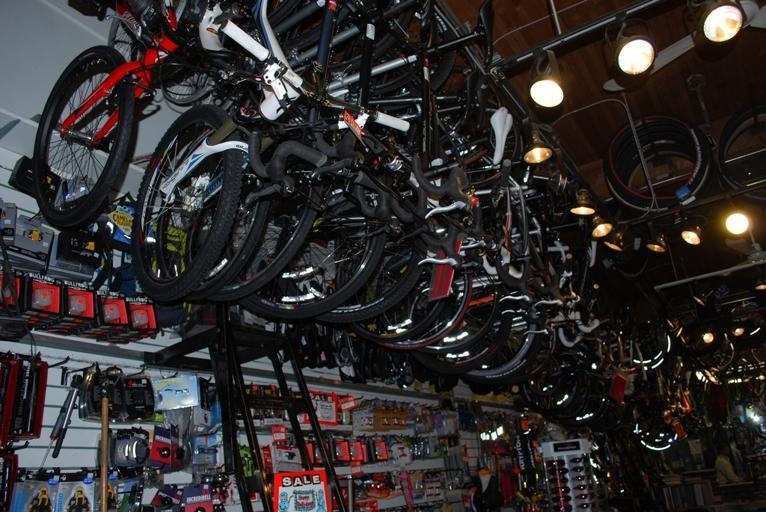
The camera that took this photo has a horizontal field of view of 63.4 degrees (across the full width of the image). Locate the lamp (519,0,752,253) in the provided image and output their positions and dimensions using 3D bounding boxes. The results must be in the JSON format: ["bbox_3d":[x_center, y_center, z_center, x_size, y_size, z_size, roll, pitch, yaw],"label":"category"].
[{"bbox_3d":[3.139,-1.403,7.090,2.088,3.001,1.119,-20,12,27],"label":"lamp"}]
